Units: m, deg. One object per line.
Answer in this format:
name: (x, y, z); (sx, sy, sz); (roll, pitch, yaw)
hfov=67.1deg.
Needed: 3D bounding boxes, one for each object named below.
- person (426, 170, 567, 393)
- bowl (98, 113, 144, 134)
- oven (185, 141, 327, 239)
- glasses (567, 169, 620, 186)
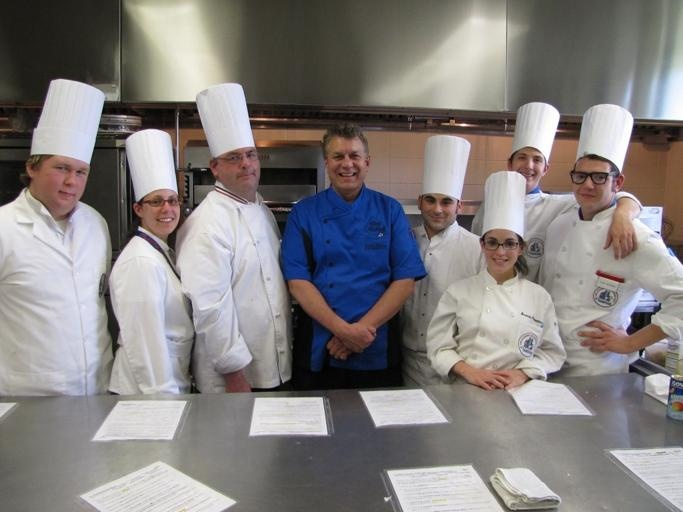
person: (0.610, 0.078, 1.950); (0.509, 0.758, 0.422); (-13, 19, -39)
bowl: (-1.208, -0.703, 2.805); (0.138, 0.046, 0.142); (0, 5, 0)
oven: (-0.374, -0.414, 3.203); (0.791, 0.705, 0.432); (4, 24, 21)
glasses: (0.989, -0.311, 2.032); (0.172, 0.055, 0.098); (5, 15, 22)
